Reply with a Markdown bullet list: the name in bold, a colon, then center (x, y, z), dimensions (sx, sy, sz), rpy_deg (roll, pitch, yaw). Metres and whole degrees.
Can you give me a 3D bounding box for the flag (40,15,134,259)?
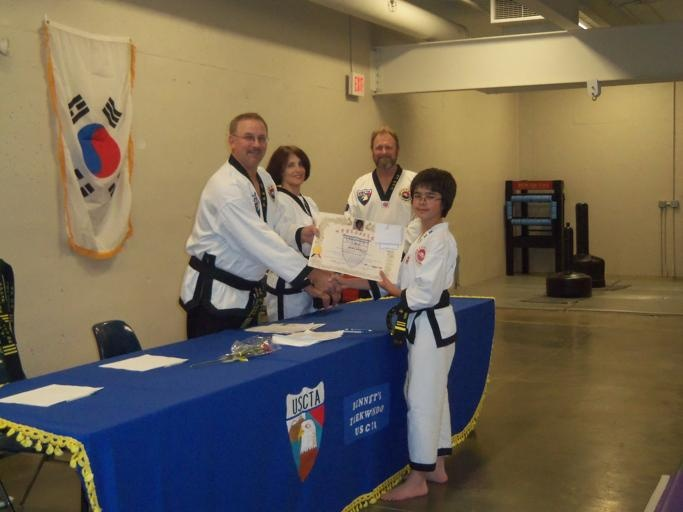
- **flag**: center (-1.872, -0.849, 4.289), dimensions (0.138, 1.716, 0.661), rpy_deg (3, 8, 37)
